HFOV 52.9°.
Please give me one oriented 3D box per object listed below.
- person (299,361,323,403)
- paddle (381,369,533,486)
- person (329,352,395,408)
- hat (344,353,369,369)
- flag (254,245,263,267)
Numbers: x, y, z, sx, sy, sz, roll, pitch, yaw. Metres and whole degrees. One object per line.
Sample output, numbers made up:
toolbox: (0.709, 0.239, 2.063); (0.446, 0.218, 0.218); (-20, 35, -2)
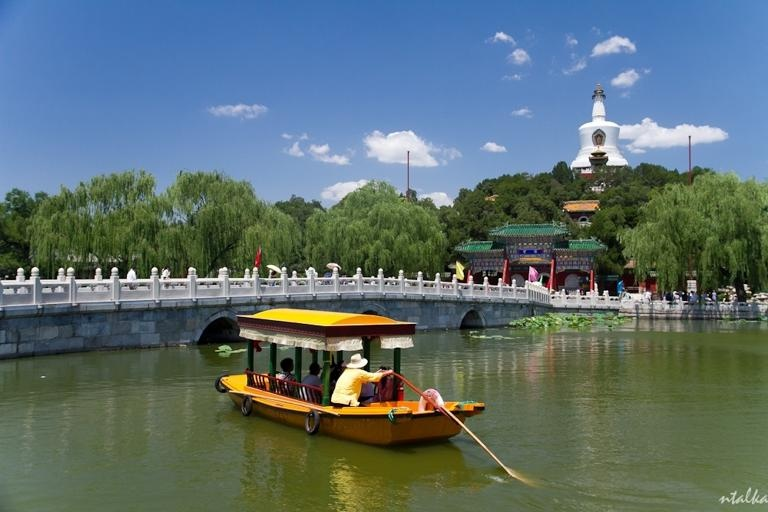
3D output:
person: (-1.721, 3.027, 18.470); (0.641, 0.917, 0.604); (12, 7, 41)
paddle: (1.683, 4.071, 17.877); (0.485, 0.250, 3.314); (19, 16, -49)
person: (-0.627, 2.870, 17.686); (1.231, 1.081, 0.699); (-1, 9, -9)
hat: (-0.665, 2.500, 17.815); (0.375, 0.128, 0.366); (-28, 21, 14)
flag: (-5.816, 0.106, 35.558); (0.363, 1.102, 1.654); (-1, 9, -9)
